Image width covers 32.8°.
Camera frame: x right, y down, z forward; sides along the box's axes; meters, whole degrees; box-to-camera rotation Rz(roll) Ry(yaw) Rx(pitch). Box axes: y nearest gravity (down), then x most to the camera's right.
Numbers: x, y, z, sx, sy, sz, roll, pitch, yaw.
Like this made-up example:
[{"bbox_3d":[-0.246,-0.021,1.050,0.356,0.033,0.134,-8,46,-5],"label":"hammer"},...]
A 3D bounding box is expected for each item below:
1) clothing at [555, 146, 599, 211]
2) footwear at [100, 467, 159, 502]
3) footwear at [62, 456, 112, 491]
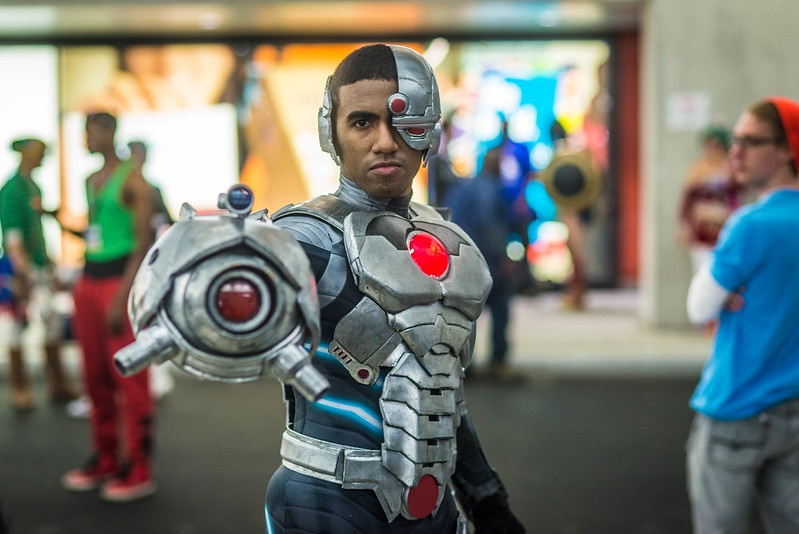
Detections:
[{"bbox_3d":[2.071,-1.061,16.160,0.585,0.668,0.572,-3,9,3],"label":"clothing"},{"bbox_3d":[-2.236,1.757,11.122,0.440,0.314,0.264,-10,-7,-41],"label":"footwear"},{"bbox_3d":[-2.543,1.703,11.157,0.431,0.191,0.235,-4,9,-13],"label":"footwear"}]
